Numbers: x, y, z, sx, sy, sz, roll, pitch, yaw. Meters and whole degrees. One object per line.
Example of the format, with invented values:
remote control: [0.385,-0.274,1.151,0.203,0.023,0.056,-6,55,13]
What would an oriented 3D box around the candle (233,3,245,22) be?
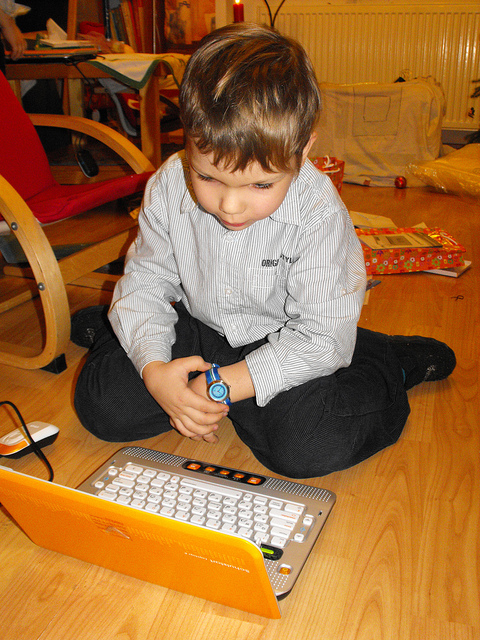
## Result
candle: [-0.009,-1.645,2.537,0.046,0.083,0.148,-5,30,-2]

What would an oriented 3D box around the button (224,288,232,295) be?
button: [-0.020,-0.047,0.778,0.009,0.009,0.003,4,12,7]

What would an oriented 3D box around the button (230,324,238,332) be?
button: [-0.011,0.014,0.817,0.012,0.011,0.004,-4,4,-7]

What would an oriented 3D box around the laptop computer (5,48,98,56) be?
laptop computer: [-0.735,-1.082,1.917,0.297,0.025,0.134,8,32,19]

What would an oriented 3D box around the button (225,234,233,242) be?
button: [-0.017,-0.128,0.744,0.011,0.011,0.003,4,31,13]
